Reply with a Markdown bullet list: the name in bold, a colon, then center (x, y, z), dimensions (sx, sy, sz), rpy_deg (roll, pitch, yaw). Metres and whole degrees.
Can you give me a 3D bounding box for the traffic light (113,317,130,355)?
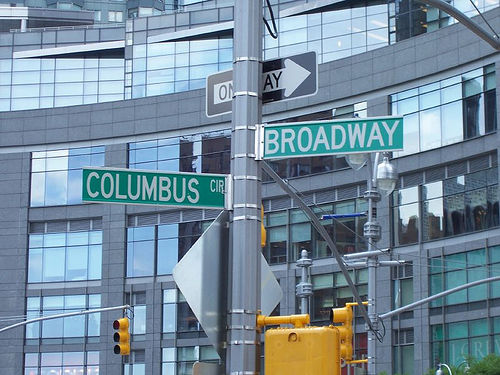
- **traffic light**: center (-7.811, 8.922, 87.401), dimensions (0.919, 2.183, 0.750), rpy_deg (-2, 0, -3)
